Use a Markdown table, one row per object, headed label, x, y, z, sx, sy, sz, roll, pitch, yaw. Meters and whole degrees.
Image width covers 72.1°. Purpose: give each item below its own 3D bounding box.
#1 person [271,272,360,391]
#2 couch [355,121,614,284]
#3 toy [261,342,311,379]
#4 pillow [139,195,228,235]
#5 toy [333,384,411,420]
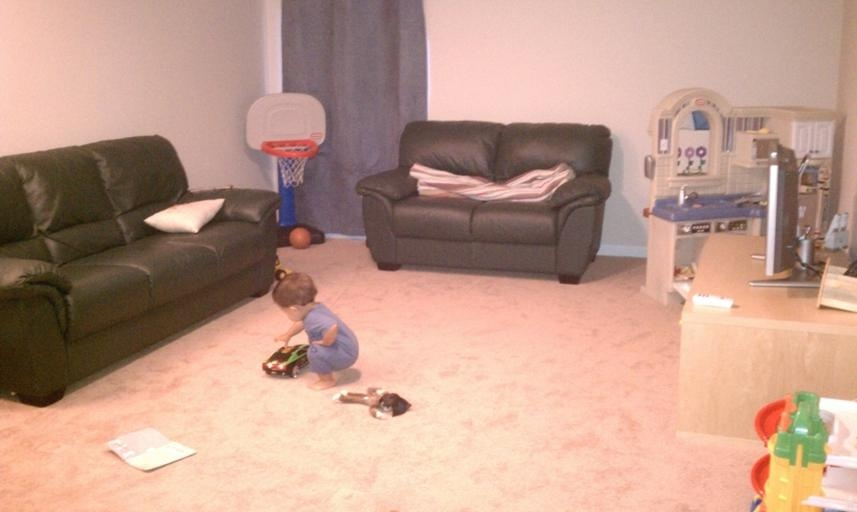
| label | x | y | z | sx | sy | sz | roll | pitch | yaw |
| --- | --- | --- | --- | --- | --- | --- | --- | --- | --- |
| person | -0.760 | 0.519 | 3.793 | 0.649 | 0.764 | 0.519 | -2 | 19 | 6 |
| couch | 0.549 | -0.527 | 5.477 | 2.156 | 1.287 | 1.014 | 2 | 19 | 13 |
| toy | -0.914 | 0.673 | 3.777 | 0.181 | 0.092 | 0.323 | 3 | 13 | 11 |
| pillow | -1.970 | -0.314 | 4.583 | 0.335 | 0.118 | 0.374 | 9 | 23 | 16 |
| toy | -0.326 | 0.854 | 3.411 | 0.278 | 0.058 | 0.196 | 4 | 12 | 5 |
